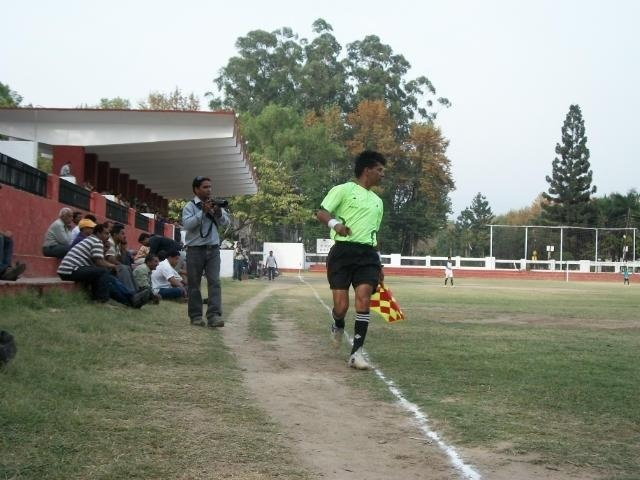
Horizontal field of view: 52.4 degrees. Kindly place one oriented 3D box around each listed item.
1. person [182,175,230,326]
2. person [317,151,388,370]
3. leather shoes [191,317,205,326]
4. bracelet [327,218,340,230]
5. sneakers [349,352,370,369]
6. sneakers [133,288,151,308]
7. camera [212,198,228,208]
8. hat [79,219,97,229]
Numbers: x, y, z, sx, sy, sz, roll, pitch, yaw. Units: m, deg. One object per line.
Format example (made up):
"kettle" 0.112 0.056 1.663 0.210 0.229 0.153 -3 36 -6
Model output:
"person" -1.727 0.196 9.717 0.700 2.238 1.515 3 2 -10
"person" 0.386 0.162 7.626 0.792 1.615 0.932 5 2 23
"leather shoes" -1.782 1.199 9.465 0.094 0.089 0.197 1 2 15
"bracelet" 0.156 -0.178 7.437 0.117 0.087 0.120 -1 2 8
"sneakers" 0.434 1.339 7.208 0.138 0.124 0.229 3 3 -12
"sneakers" -2.755 0.892 9.887 0.307 0.150 0.233 -14 -6 33
"camera" -1.395 -0.502 9.045 0.205 0.113 0.530 3 2 -10
"hat" -3.646 -0.249 10.208 0.258 0.108 0.174 -2 5 -28
